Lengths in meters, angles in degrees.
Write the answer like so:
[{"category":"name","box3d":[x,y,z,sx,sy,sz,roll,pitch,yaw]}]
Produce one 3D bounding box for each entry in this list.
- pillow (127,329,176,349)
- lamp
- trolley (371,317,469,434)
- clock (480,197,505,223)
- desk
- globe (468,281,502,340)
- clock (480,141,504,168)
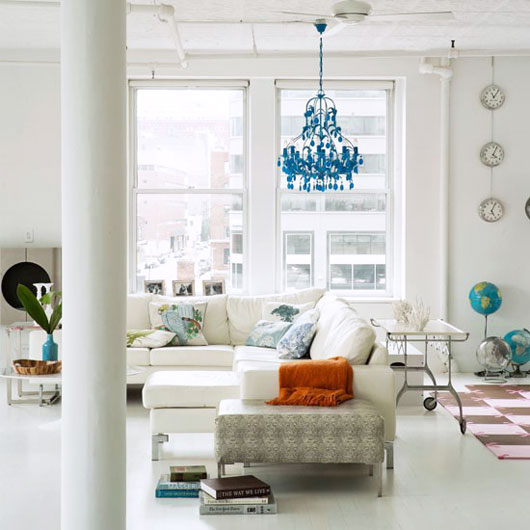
[{"category":"pillow","box3d":[-0.979,0.648,6.201,0.370,0.127,0.379,2,1,-4]},{"category":"lamp","box3d":[0.455,-1.402,6.516,0.884,1.516,2.994,0,4,7]},{"category":"trolley","box3d":[1.330,0.940,6.078,0.548,0.759,1.439,0,-4,6]},{"category":"clock","box3d":[2.377,-0.573,7.456,0.225,0.258,0.049,3,6,3]},{"category":"desk","box3d":[1.310,0.917,6.029,0.570,0.754,1.435,1,-3,6]},{"category":"globe","box3d":[2.284,0.480,7.376,0.343,0.598,0.351,1,3,15]},{"category":"clock","box3d":[2.373,-1.149,7.434,0.222,0.255,0.057,-1,3,8]}]
